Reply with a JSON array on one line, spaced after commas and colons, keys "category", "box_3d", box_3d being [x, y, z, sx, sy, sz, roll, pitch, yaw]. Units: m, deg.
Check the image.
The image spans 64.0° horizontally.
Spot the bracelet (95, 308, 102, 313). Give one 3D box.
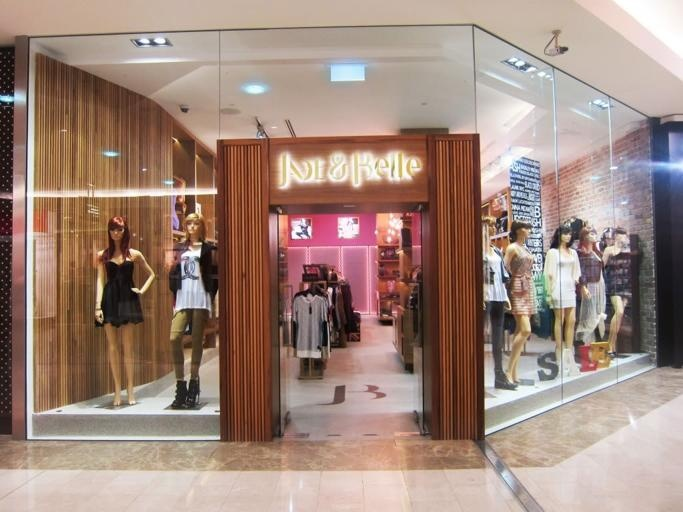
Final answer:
[{"category": "bracelet", "box_3d": [-2.569, 0.578, 5.772, 0.041, 0.048, 0.048, 1, 7, 3]}]

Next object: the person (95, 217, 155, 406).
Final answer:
[{"category": "person", "box_3d": [-2.350, 0.581, 5.799, 0.465, 1.924, 0.395, 3, 8, 35]}]

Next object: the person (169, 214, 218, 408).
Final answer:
[{"category": "person", "box_3d": [-1.540, 0.576, 5.664, 0.534, 1.977, 0.286, -3, 7, -7]}]

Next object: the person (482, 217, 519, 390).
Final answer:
[{"category": "person", "box_3d": [1.687, 0.510, 5.729, 0.439, 1.833, 0.207, -7, 9, -37]}]

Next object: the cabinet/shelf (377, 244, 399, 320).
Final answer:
[{"category": "cabinet/shelf", "box_3d": [1.284, 0.706, 14.261, 0.723, 1.846, 0.470, -2, 6, 5]}]

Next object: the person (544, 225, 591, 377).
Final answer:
[{"category": "person", "box_3d": [2.607, 0.523, 6.340, 0.624, 1.711, 0.238, -9, 10, -43]}]
